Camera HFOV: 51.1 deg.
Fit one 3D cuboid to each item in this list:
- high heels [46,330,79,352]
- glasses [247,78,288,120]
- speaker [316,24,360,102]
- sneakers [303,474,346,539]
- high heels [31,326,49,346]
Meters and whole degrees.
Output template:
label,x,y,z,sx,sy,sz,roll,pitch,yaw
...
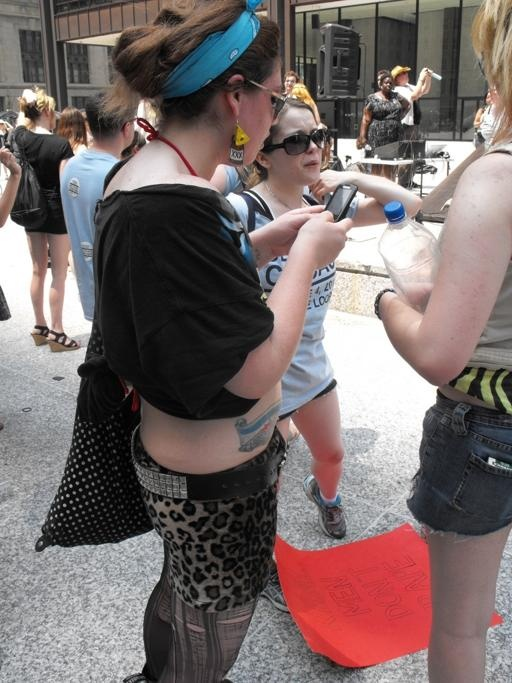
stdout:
label,x,y,z,sx,sy,sz,roll,pitch,yaw
high heels,-1.797,-0.024,5.093,0.296,0.202,0.156,-14,27,-30
glasses,0.017,-0.486,1.079,0.075,0.022,0.071,21,18,3
speaker,1.524,-5.295,10.041,0.950,1.175,0.874,-26,38,-38
sneakers,0.359,0.769,2.587,0.122,0.334,0.153,-25,5,-27
high heels,-2.034,-0.064,5.117,0.115,0.117,0.283,1,21,-10
